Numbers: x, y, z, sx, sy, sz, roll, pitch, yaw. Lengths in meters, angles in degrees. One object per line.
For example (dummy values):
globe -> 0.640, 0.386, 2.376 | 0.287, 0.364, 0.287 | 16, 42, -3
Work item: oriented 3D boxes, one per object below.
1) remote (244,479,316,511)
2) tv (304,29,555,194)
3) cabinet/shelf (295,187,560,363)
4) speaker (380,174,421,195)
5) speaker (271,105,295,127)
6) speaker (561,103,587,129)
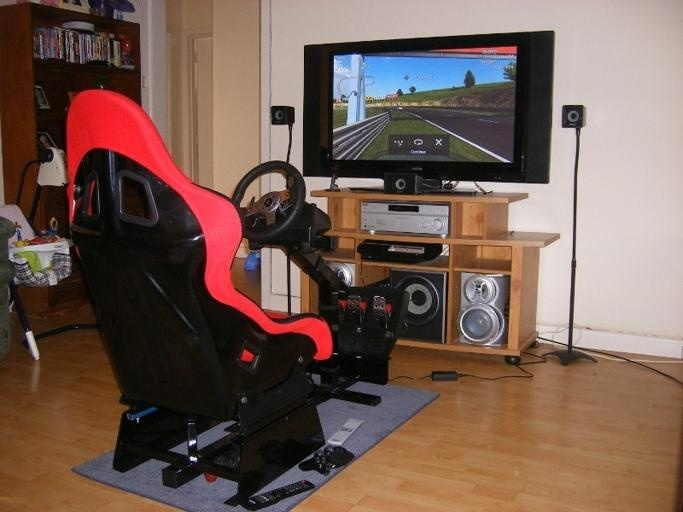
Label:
remote -> -0.246, 0.917, 2.346 | 0.306, 0.042, 0.088 | -8, 14, -35
tv -> 0.667, -0.987, 4.015 | 1.354, 0.773, 0.070 | 4, 10, 23
cabinet/shelf -> 0.579, 0.132, 3.646 | 1.103, 0.721, 0.369 | 2, 4, 16
speaker -> 0.395, -0.477, 3.838 | 0.165, 0.104, 0.166 | 4, 9, 19
speaker -> -0.456, -1.061, 4.524 | 0.141, 0.171, 0.266 | 2, 9, 10
speaker -> 1.476, -0.887, 3.734 | 0.147, 0.152, 0.154 | 3, 10, 28
